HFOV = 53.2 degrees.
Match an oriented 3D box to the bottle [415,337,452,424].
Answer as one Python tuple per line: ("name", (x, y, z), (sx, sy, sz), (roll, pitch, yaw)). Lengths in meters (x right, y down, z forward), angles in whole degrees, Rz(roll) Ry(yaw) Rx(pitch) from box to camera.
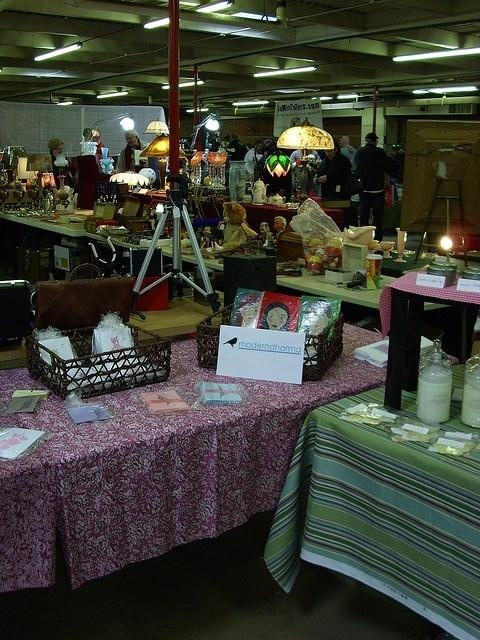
("bottle", (0.523, 0.155, 1.285), (0.090, 0.202, 0.192), (8, 14, 24))

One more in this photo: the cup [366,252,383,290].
("cup", (0.872, -0.322, 3.143), (0.094, 0.214, 0.202), (6, 13, 17))

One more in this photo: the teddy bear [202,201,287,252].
("teddy bear", (0.059, -0.830, 4.303), (0.435, 0.228, 0.660), (-10, 15, -42))

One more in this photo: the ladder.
("ladder", (1.486, -0.723, 3.544), (0.319, 0.588, 0.615), (7, 13, 21))

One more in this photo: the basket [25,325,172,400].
("basket", (-0.386, 0.066, 1.408), (0.328, 0.106, 0.240), (-11, 24, -36))

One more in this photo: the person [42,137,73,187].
("person", (-3.120, -2.777, 8.303), (0.384, 0.965, 2.527), (-2, 13, -19))

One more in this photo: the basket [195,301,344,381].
("basket", (0.099, 0.081, 1.604), (0.317, 0.110, 0.320), (6, 17, 15))
